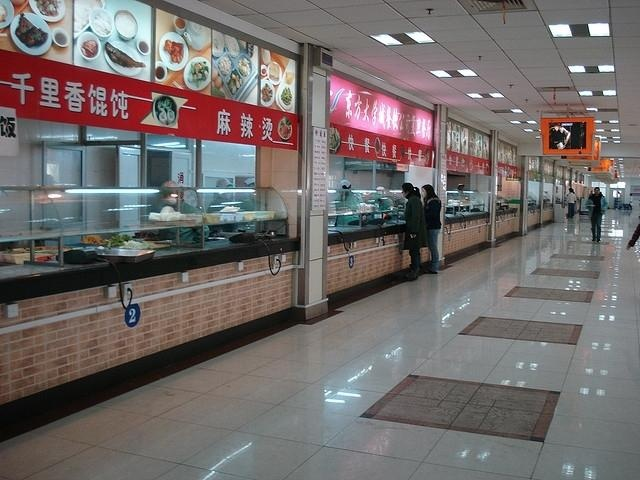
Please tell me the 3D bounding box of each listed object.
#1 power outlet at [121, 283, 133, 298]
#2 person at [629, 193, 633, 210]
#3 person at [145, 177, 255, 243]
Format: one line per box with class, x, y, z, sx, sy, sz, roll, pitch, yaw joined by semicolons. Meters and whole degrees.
power outlet;-1.599;0.419;3.545;0.107;0.124;0.091;6;7;38
person;36.316;-4.640;49.581;0.489;1.588;1.374;3;6;36
person;-1.225;-0.287;4.444;0.179;0.363;1.112;-8;0;30
